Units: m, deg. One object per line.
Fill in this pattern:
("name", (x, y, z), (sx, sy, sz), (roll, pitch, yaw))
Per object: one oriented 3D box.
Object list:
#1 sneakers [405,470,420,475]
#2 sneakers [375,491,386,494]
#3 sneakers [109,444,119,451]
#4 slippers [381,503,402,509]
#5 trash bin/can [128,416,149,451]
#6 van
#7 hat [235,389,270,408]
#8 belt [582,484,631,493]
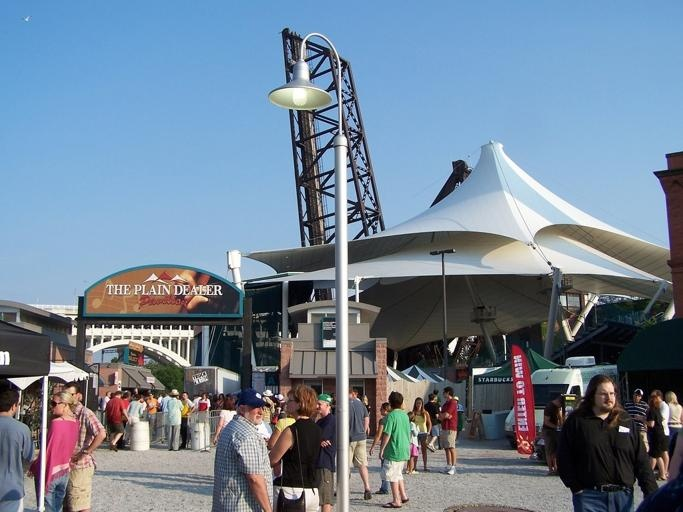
("sneakers", (1.565, 4.670, 17.869), (0.308, 0.125, 0.095), (-2, -7, -15))
("sneakers", (0.728, 4.388, 15.374), (0.155, 0.068, 0.058), (-13, -16, 43))
("sneakers", (-6.361, 5.313, 23.046), (0.158, 0.181, 0.374), (-13, 13, -25))
("slippers", (0.882, 4.177, 13.949), (0.329, 0.116, 0.277), (-2, -13, 4))
("trash bin/can", (-5.765, 5.112, 23.716), (0.741, 1.075, 0.741), (0, -15, -4))
("van", (6.949, 4.332, 26.764), (2.421, 3.096, 6.716), (-11, -22, 34))
("hat", (-1.037, 1.622, 9.451), (0.280, 0.157, 0.199), (-4, -9, 8))
("belt", (2.985, 2.575, 9.167), (0.599, 0.091, 0.113), (1, -13, -9))
